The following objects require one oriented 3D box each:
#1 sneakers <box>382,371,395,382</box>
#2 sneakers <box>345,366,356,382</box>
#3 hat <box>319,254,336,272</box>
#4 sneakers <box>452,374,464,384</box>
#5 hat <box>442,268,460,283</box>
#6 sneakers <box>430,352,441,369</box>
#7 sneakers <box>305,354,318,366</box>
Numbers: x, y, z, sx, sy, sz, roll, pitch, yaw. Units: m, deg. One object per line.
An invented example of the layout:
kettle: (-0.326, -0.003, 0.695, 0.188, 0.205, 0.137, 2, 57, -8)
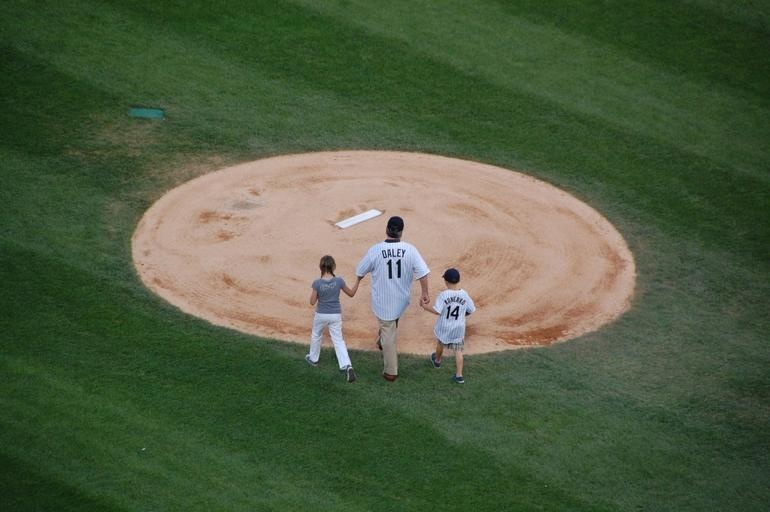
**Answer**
sneakers: (0.091, 2.839, 28.149, 0.296, 0.115, 0.160, 30, 52, 30)
sneakers: (-0.822, 2.808, 28.042, 0.225, 0.332, 0.167, -1, -6, -14)
hat: (-1.385, 0.174, 28.333, 0.314, 0.406, 0.270, 13, 37, 1)
sneakers: (1.757, 2.900, 28.183, 0.131, 0.125, 0.316, -24, 40, -32)
hat: (1.544, 0.448, 27.807, 0.310, 0.202, 0.363, -4, 27, -11)
sneakers: (1.218, 2.516, 28.477, 0.165, 0.149, 0.366, -2, 26, -9)
sneakers: (-1.787, 2.477, 28.411, 0.376, 0.149, 0.158, 33, 43, 23)
